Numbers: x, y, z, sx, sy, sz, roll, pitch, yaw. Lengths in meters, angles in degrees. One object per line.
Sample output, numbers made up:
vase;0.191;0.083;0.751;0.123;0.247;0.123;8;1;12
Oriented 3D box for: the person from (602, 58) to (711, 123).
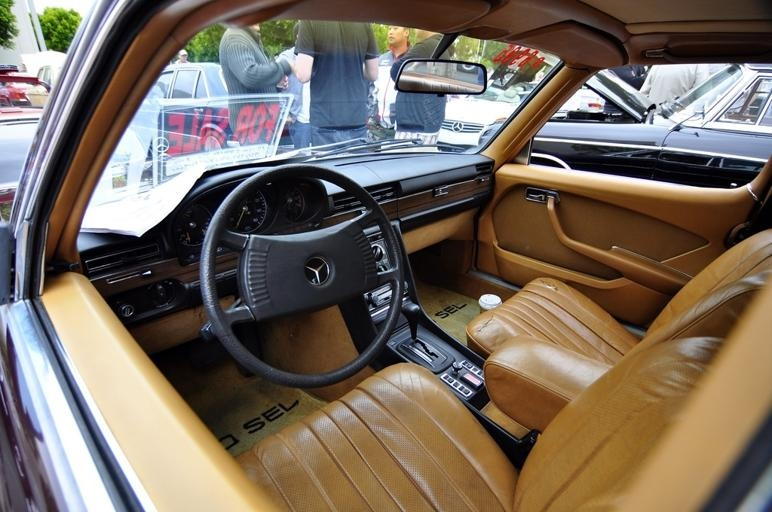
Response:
person;1.883;-1.131;3.387;0.718;0.346;0.197;1;30;13
